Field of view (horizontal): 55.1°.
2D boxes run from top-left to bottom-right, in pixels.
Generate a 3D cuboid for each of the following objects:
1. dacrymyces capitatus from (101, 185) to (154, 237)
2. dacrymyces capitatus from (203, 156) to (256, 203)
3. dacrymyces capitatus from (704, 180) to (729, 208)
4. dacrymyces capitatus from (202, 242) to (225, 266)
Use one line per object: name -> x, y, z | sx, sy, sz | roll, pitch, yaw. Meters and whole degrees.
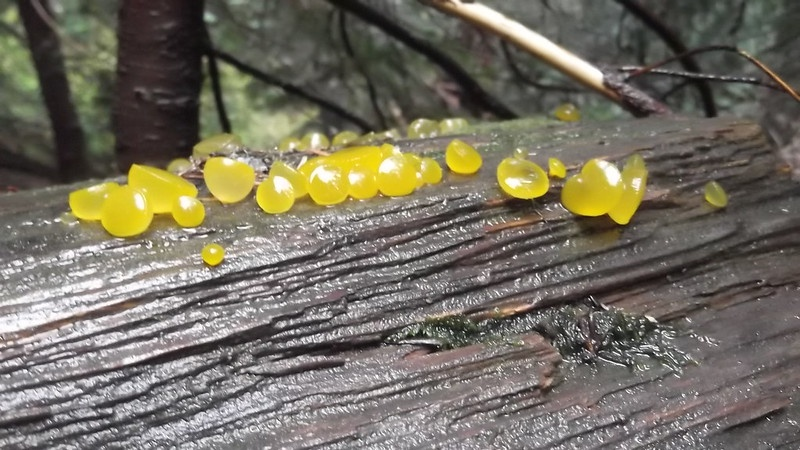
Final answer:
dacrymyces capitatus -> -1.548, -0.077, 4.325 | 0.277, 0.172, 0.260 | 6, 59, -4
dacrymyces capitatus -> -0.985, -0.257, 4.541 | 0.282, 0.287, 0.188 | 24, 96, 32
dacrymyces capitatus -> 1.917, -0.186, 4.703 | 0.159, 0.103, 0.132 | 60, 37, -6
dacrymyces capitatus -> -1.045, 0.163, 4.284 | 0.130, 0.065, 0.120 | 8, 59, -3
